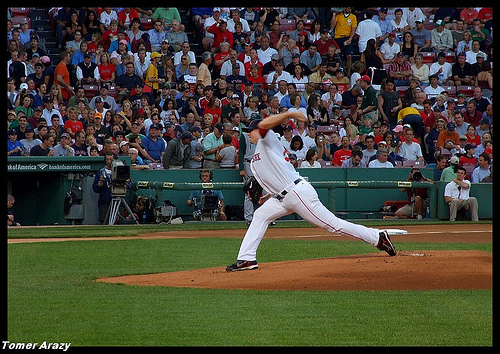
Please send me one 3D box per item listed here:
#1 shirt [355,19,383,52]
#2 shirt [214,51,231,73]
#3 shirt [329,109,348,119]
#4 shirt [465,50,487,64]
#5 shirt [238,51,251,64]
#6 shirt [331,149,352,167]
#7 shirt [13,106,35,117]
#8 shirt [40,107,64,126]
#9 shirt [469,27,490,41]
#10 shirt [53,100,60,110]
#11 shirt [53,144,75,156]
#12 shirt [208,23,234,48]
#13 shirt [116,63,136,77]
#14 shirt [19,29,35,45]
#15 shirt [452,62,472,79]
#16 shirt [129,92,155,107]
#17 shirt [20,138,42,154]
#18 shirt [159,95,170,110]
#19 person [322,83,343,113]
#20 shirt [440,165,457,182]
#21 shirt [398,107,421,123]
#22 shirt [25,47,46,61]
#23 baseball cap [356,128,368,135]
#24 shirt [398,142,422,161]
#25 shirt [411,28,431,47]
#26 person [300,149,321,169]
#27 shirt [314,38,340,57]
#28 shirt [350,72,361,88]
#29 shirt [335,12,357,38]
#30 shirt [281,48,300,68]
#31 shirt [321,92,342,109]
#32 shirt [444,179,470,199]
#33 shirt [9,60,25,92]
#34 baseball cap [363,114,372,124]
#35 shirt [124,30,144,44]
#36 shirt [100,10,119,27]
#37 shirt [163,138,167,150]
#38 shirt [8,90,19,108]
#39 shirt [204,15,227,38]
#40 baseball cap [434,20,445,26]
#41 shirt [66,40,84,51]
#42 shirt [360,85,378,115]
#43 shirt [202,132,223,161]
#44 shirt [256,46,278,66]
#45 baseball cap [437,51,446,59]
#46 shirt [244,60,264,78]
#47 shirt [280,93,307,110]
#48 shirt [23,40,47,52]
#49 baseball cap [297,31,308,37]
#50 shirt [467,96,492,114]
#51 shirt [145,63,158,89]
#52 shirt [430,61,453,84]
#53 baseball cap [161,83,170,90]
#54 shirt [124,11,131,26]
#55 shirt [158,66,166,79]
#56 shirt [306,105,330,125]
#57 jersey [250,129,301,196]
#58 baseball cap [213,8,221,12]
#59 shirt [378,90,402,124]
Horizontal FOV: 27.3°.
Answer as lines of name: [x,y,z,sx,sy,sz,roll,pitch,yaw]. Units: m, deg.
shirt: [3.573,-4.223,30.878,1.048,1.215,0.436,2,0,7]
shirt: [-0.830,-3.292,29.237,0.418,0.548,0.186,3,11,-26]
shirt: [2.484,-1.758,28.295,0.711,0.196,0.319,-12,16,-40]
shirt: [6.848,-3.496,30.959,0.688,0.516,0.353,-2,-8,3]
shirt: [-0.149,-3.413,29.379,0.466,0.460,0.246,-2,12,-1]
shirt: [2.346,-0.485,25.961,0.410,0.377,0.148,3,-16,0]
shirt: [-5.775,-1.684,26.060,0.381,0.153,0.278,7,-1,-31]
shirt: [-5.098,-1.596,26.301,0.692,0.577,0.372,-1,-15,-14]
shirt: [7.174,-4.465,31.950,0.523,0.357,0.687,2,13,15]
shirt: [-5.106,-1.889,26.807,0.197,0.223,0.163,2,-11,-1]
shirt: [-4.480,-0.593,24.481,0.391,0.483,0.273,1,-2,-31]
shirt: [-0.790,-4.165,30.081,0.683,1.043,0.709,0,2,23]
shirt: [-3.522,-2.951,28.346,0.272,0.384,0.491,-3,-16,-21]
shirt: [-6.470,-3.994,29.424,0.483,0.590,0.314,0,-8,-12]
shirt: [6.264,-3.111,30.424,0.712,0.703,0.403,0,-2,0]
shirt: [-2.877,-2.085,27.401,0.743,0.301,0.750,-5,13,-19]
shirt: [-5.362,-0.794,24.884,0.553,0.515,0.315,-4,-1,-34]
shirt: [-2.350,-2.034,27.680,0.228,0.326,0.124,8,0,-3]
person: [2.275,-2.160,28.468,0.567,0.943,0.566,3,-4,-14]
shirt: [4.931,-0.088,25.316,0.306,0.302,0.173,12,26,9]
shirt: [4.338,-1.726,27.884,0.606,0.348,0.594,-15,26,13]
shirt: [-6.050,-3.463,28.636,0.494,0.259,0.298,-1,4,-29]
baseball cap: [3.020,-1.211,27.231,0.241,0.129,0.424,1,13,9]
shirt: [4.193,-0.598,26.641,0.733,0.622,0.418,-2,-5,15]
shirt: [5.267,-4.271,31.494,0.661,0.545,0.255,-1,-3,2]
person: [1.486,-0.449,25.574,0.409,0.745,0.233,-4,9,-20]
shirt: [2.260,-3.832,30.387,0.547,0.433,0.168,12,-4,8]
shirt: [3.169,-2.811,29.693,0.430,0.344,0.597,8,4,1]
shirt: [2.932,-4.611,31.195,0.765,0.888,0.478,3,1,-2]
shirt: [1.067,-3.510,29.931,0.314,0.472,0.272,0,13,5]
shirt: [2.297,-2.146,28.505,0.609,0.415,0.373,-2,13,-6]
shirt: [5.087,0.331,25.109,0.730,0.577,0.398,0,1,-10]
shirt: [-6.293,-2.758,27.528,0.415,0.667,0.640,-3,13,-10]
baseball cap: [3.147,-1.557,27.427,0.195,0.241,0.133,6,16,35]
shirt: [-3.355,-4.017,29.428,0.511,0.381,0.144,-1,-23,-1]
shirt: [-4.157,-4.622,30.004,0.651,0.535,0.368,-6,7,-11]
shirt: [-2.144,-0.864,25.782,0.163,0.165,0.151,1,42,-6]
shirt: [-6.223,-2.055,26.672,0.269,0.380,0.346,-3,-5,-24]
shirt: [-1.018,-4.389,30.085,0.663,0.655,0.382,7,-9,-11]
baseball cap: [6.015,-4.853,32.282,0.281,0.154,0.183,-26,29,-38]
shirt: [-5.058,-3.753,29.122,0.282,0.288,0.110,6,-31,-1]
shirt: [3.358,-2.185,28.607,0.592,0.949,1.004,2,4,6]
shirt: [-0.925,-0.746,25.377,0.695,0.654,0.371,2,-2,-37]
shirt: [0.461,-3.467,29.534,0.636,0.525,0.218,0,-11,-4]
baseball cap: [5.699,-3.609,30.409,0.232,0.214,0.486,1,13,9]
shirt: [0.041,-3.095,29.185,0.728,0.707,0.405,0,-4,-4]
shirt: [1.176,-2.056,27.937,0.423,0.365,1.165,7,15,33]
shirt: [-6.134,-3.694,28.890,0.509,0.365,0.256,0,-10,-11]
baseball cap: [1.608,-4.270,30.494,0.355,0.128,0.190,-7,14,-27]
shirt: [6.448,-2.012,28.622,0.587,0.485,0.208,5,-21,6]
shirt: [-2.748,-2.787,28.332,0.363,0.656,0.449,-3,13,-7]
shirt: [5.648,-3.045,30.124,0.733,0.661,0.327,0,-3,-2]
baseball cap: [-2.293,-2.435,27.580,0.211,0.121,0.280,11,3,-5]
shirt: [-3.651,-4.670,30.189,0.249,0.440,0.155,-1,5,-5]
shirt: [-2.468,-2.901,28.473,0.197,0.298,0.414,-3,13,-7]
shirt: [1.827,-1.672,27.800,0.669,0.891,0.252,3,-7,-4]
jersey: [0.442,-0.246,18.195,0.712,1.227,0.847,0,6,-5]
baseball cap: [-0.988,-4.967,30.450,0.295,0.142,0.476,1,11,-8]
shirt: [3.889,-1.941,28.392,0.576,0.896,0.427,0,12,5]
